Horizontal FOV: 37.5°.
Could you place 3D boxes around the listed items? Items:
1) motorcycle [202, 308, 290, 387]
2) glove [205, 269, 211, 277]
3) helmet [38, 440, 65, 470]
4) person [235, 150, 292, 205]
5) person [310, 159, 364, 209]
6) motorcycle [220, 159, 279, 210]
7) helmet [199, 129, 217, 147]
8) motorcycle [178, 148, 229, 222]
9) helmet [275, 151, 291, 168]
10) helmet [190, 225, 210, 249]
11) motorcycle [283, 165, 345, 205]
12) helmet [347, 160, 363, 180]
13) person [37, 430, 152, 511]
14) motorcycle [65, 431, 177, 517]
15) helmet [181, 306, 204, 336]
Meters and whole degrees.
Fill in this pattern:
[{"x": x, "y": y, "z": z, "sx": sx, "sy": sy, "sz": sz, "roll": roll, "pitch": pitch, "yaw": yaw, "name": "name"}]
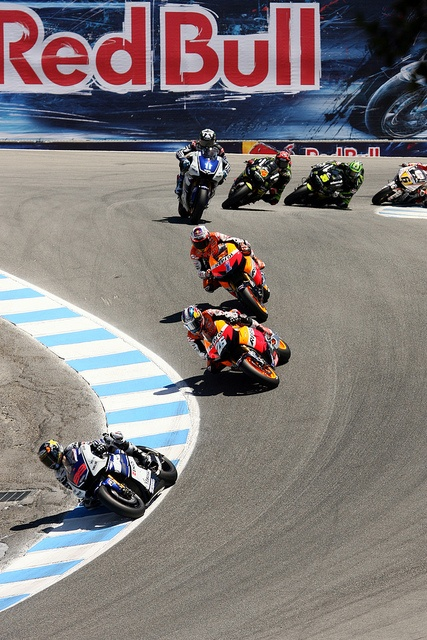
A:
[{"x": 0.402, "y": 0.366, "z": 8.046, "sx": 1.128, "sy": 0.886, "sz": 0.940, "roll": -1, "pitch": 15, "yaw": 0, "name": "motorcycle"}, {"x": -0.087, "y": -0.722, "z": 9.759, "sx": 0.042, "sy": 0.111, "sz": 0.088, "roll": 2, "pitch": 28, "yaw": -16, "name": "glove"}, {"x": -1.484, "y": 1.244, "z": 5.832, "sx": 0.267, "sy": 0.250, "sz": 0.225, "roll": 10, "pitch": -20, "yaw": -24, "name": "helmet"}, {"x": 1.304, "y": -3.338, "z": 14.810, "sx": 0.984, "sy": 0.776, "sz": 1.734, "roll": -9, "pitch": 6, "yaw": 11, "name": "person"}, {"x": 3.075, "y": -3.381, "z": 15.516, "sx": 0.920, "sy": 0.700, "sz": 1.633, "roll": 0, "pitch": 5, "yaw": 29, "name": "person"}, {"x": 0.929, "y": -3.239, "z": 14.834, "sx": 0.941, "sy": 0.714, "sz": 1.663, "roll": -23, "pitch": 5, "yaw": 16, "name": "motorcycle"}, {"x": -0.137, "y": -3.878, "z": 13.491, "sx": 0.343, "sy": 0.387, "sz": 0.353, "roll": 1, "pitch": -19, "yaw": -3, "name": "helmet"}, {"x": -0.298, "y": -2.838, "z": 13.413, "sx": 0.790, "sy": 1.569, "sz": 1.086, "roll": -11, "pitch": 18, "yaw": -33, "name": "motorcycle"}, {"x": 1.619, "y": -3.749, "z": 14.717, "sx": 0.309, "sy": 0.348, "sz": 0.313, "roll": -1, "pitch": -15, "yaw": -2, "name": "helmet"}, {"x": -0.200, "y": -1.312, "z": 9.732, "sx": 0.292, "sy": 0.307, "sz": 0.328, "roll": -9, "pitch": 38, "yaw": 12, "name": "helmet"}, {"x": 2.581, "y": -3.390, "z": 15.660, "sx": 0.997, "sy": 0.652, "sz": 1.788, "roll": -10, "pitch": 8, "yaw": 36, "name": "motorcycle"}, {"x": 3.441, "y": -3.630, "z": 15.262, "sx": 0.345, "sy": 0.394, "sz": 0.409, "roll": 7, "pitch": -12, "yaw": 16, "name": "helmet"}, {"x": -0.998, "y": 1.329, "z": 5.727, "sx": 0.681, "sy": 0.466, "sz": 1.200, "roll": 25, "pitch": 1, "yaw": 7, "name": "person"}, {"x": -0.904, "y": 1.339, "z": 5.778, "sx": 0.839, "sy": 0.632, "sz": 0.871, "roll": 5, "pitch": 16, "yaw": 22, "name": "motorcycle"}, {"x": -0.317, "y": -0.012, "z": 8.089, "sx": 0.277, "sy": 0.308, "sz": 0.325, "roll": -13, "pitch": -27, "yaw": 26, "name": "helmet"}]
